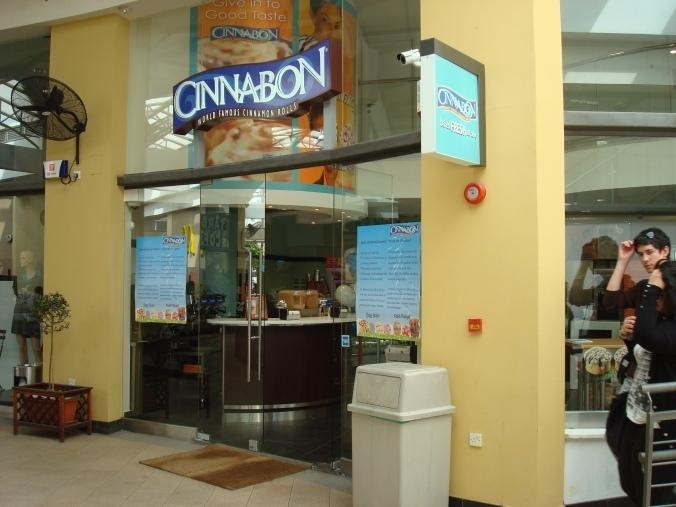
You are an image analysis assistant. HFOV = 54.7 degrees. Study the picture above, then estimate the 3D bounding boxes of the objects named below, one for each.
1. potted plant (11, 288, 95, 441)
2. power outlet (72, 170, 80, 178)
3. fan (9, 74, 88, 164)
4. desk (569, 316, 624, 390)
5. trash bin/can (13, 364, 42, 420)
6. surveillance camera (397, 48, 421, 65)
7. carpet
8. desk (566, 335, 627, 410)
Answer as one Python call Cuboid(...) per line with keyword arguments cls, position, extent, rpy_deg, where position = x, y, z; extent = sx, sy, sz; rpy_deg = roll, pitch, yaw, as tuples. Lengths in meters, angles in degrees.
Cuboid(cls="potted plant", position=(-3.402, 1.335, 7.876), extent=(0.845, 1.681, 0.663), rpy_deg=(1, 5, 27))
Cuboid(cls="power outlet", position=(-3.273, -0.999, 8.231), extent=(0.099, 0.098, 0.054), rpy_deg=(-1, -6, 16))
Cuboid(cls="fan", position=(-3.292, -1.638, 7.905), extent=(0.536, 0.908, 0.807), rpy_deg=(-2, 12, 38))
Cuboid(cls="desk", position=(2.293, 0.888, 6.069), extent=(0.563, 0.545, 0.574), rpy_deg=(-1, 7, 7))
Cuboid(cls="trash bin/can", position=(-4.013, 1.717, 8.669), extent=(0.245, 0.463, 0.255), rpy_deg=(-8, 5, 25))
Cuboid(cls="surveillance camera", position=(0.596, -1.657, 5.546), extent=(0.168, 0.139, 0.243), rpy_deg=(-1, 4, 3))
Cuboid(cls="carpet", position=(-1.167, 2.214, 6.851), extent=(1.579, 0.050, 0.922), rpy_deg=(2, 5, 32))
Cuboid(cls="desk", position=(2.396, 1.145, 6.007), extent=(0.629, 0.548, 0.636), rpy_deg=(-1, -3, -3))
